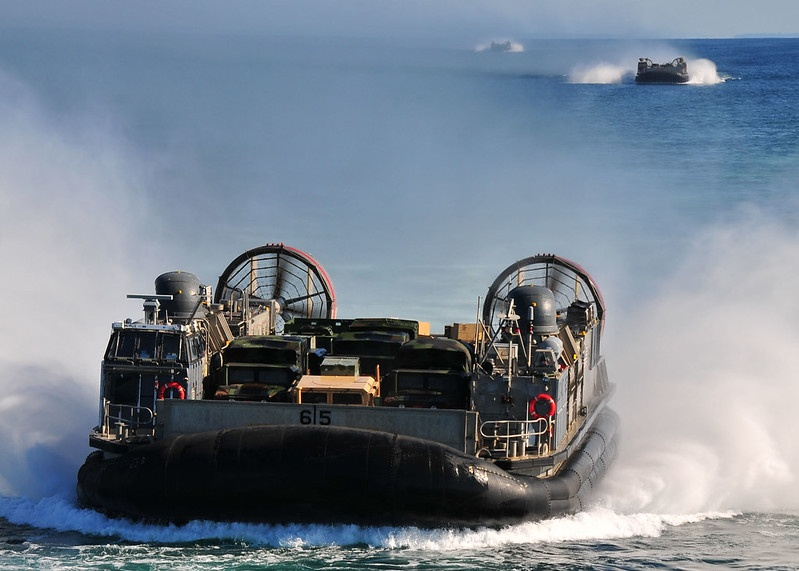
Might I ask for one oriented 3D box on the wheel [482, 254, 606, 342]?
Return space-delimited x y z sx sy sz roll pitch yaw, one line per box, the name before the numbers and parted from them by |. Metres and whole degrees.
wheel | 4.200 0.207 39.310 2.348 0.552 2.309 16 31 -10
